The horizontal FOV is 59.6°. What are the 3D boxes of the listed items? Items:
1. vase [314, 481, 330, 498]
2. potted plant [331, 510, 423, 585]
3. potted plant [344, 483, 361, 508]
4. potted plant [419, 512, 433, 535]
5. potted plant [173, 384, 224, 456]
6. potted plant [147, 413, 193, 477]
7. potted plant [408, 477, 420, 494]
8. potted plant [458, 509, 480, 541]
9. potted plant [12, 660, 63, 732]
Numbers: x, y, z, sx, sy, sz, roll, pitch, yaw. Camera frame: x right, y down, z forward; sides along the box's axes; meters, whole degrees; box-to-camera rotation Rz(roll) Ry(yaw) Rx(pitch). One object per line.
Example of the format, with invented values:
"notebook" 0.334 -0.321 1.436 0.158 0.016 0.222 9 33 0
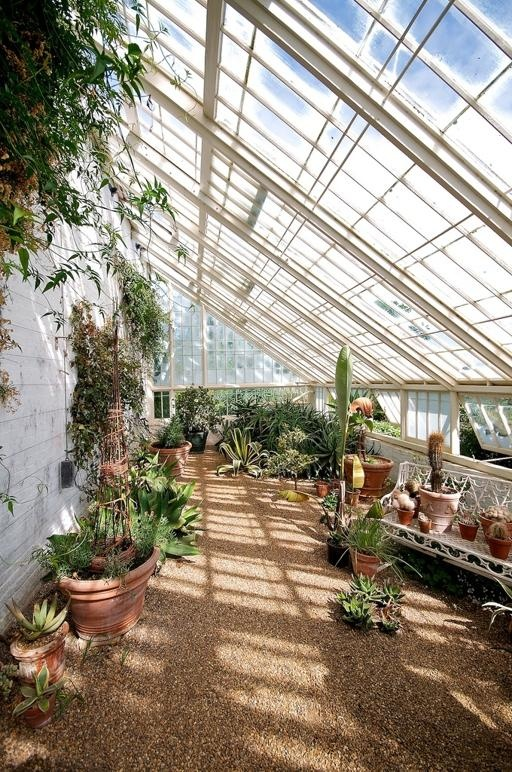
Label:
"vase" 0.916 1.429 6.316 0.152 0.132 0.164 1 -4 -4
"potted plant" 1.078 1.392 4.061 0.759 0.609 0.594 2 3 -27
"potted plant" 1.254 1.428 5.921 0.241 0.222 0.269 1 -3 1
"potted plant" 1.522 1.228 4.047 0.112 0.100 0.121 -4 -3 32
"potted plant" -1.247 0.664 9.920 1.128 1.750 1.205 1 11 8
"potted plant" -1.394 0.921 7.263 0.756 1.228 0.807 1 2 -14
"potted plant" 1.547 0.996 4.457 0.115 0.118 0.101 6 -4 8
"potted plant" 1.868 1.215 3.943 0.172 0.154 0.193 1 -8 -1
"potted plant" -1.044 1.484 2.189 0.206 0.256 0.189 13 -4 -2
